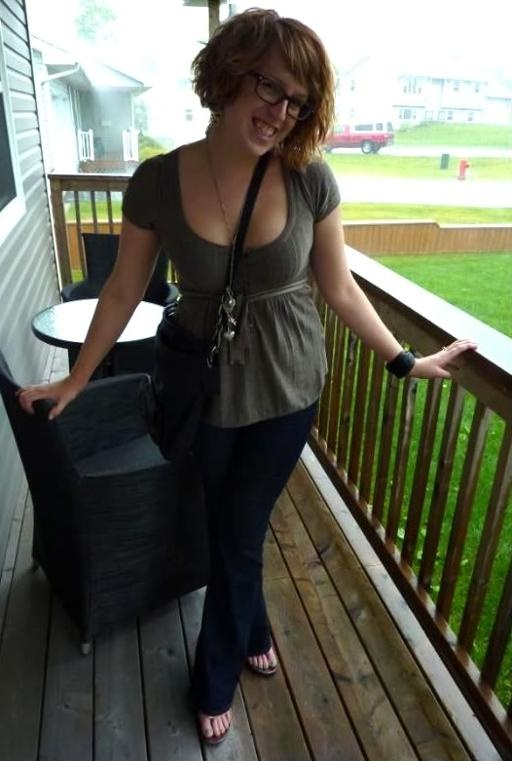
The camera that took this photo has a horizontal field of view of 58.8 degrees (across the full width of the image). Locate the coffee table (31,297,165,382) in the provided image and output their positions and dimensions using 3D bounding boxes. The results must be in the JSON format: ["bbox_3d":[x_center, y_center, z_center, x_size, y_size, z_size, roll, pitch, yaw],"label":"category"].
[{"bbox_3d":[-0.634,-0.175,1.850,0.307,0.267,0.385,12,35,2],"label":"coffee table"}]

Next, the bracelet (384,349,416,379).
[{"bbox_3d":[0.330,-0.023,1.024,0.068,0.048,0.052,-53,15,-16],"label":"bracelet"}]

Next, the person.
[{"bbox_3d":[-0.023,0.126,0.994,0.769,1.488,0.418,6,11,22],"label":"person"}]

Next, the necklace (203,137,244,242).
[{"bbox_3d":[-0.060,-0.320,0.758,0.030,0.170,0.107,-5,13,-31],"label":"necklace"}]
